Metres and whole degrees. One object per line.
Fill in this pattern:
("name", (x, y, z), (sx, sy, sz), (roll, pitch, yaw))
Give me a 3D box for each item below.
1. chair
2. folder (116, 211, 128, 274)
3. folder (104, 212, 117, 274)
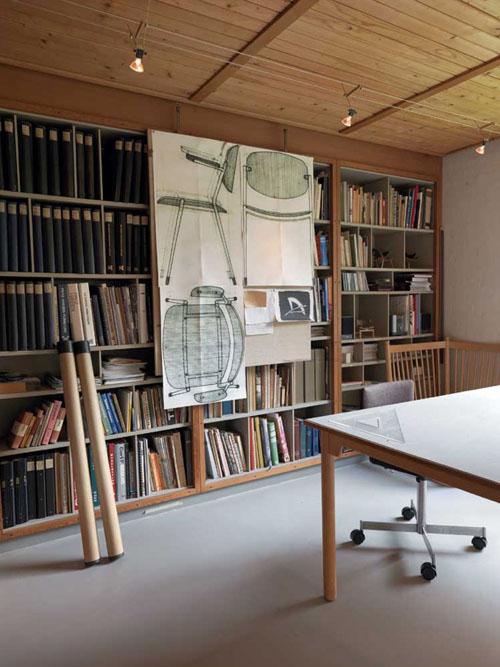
("chair", (0.863, 0.641, 2.625), (0.654, 0.806, 0.677), (3, 5, -16))
("folder", (-0.701, -0.482, 2.875), (0.057, 0.235, 0.232), (1, 2, -5))
("folder", (-0.752, -0.487, 2.838), (0.060, 0.239, 0.235), (2, -2, -3))
